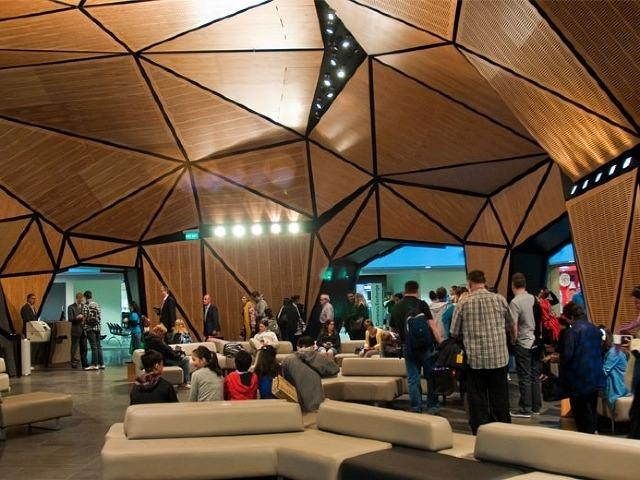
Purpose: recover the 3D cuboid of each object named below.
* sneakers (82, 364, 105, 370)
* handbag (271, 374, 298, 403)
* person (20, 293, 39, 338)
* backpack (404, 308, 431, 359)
[{"bbox_3d":[-6.678,3.740,14.320,0.475,0.189,0.162,5,-17,-14],"label":"sneakers"},{"bbox_3d":[-0.355,1.750,5.763,0.323,0.329,0.108,18,-62,-46],"label":"handbag"},{"bbox_3d":[-8.676,2.185,14.419,0.434,1.183,0.676,4,-12,-32],"label":"person"},{"bbox_3d":[1.455,1.346,7.261,0.388,0.563,0.296,-16,5,-8],"label":"backpack"}]
